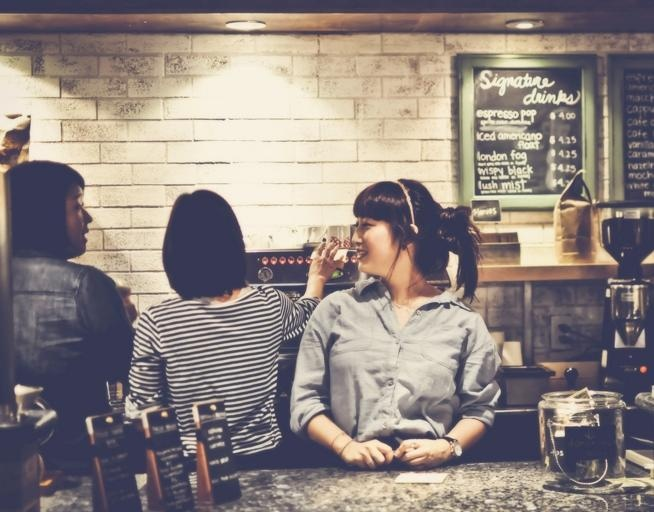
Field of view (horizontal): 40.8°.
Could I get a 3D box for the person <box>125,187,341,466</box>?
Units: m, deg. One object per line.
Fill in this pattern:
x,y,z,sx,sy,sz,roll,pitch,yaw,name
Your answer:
-0.383,0.243,3.065,0.655,0.941,0.276,-4,4,-15,person

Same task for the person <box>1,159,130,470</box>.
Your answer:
-0.945,0.180,3.294,0.429,1.084,0.568,-5,4,-25,person
